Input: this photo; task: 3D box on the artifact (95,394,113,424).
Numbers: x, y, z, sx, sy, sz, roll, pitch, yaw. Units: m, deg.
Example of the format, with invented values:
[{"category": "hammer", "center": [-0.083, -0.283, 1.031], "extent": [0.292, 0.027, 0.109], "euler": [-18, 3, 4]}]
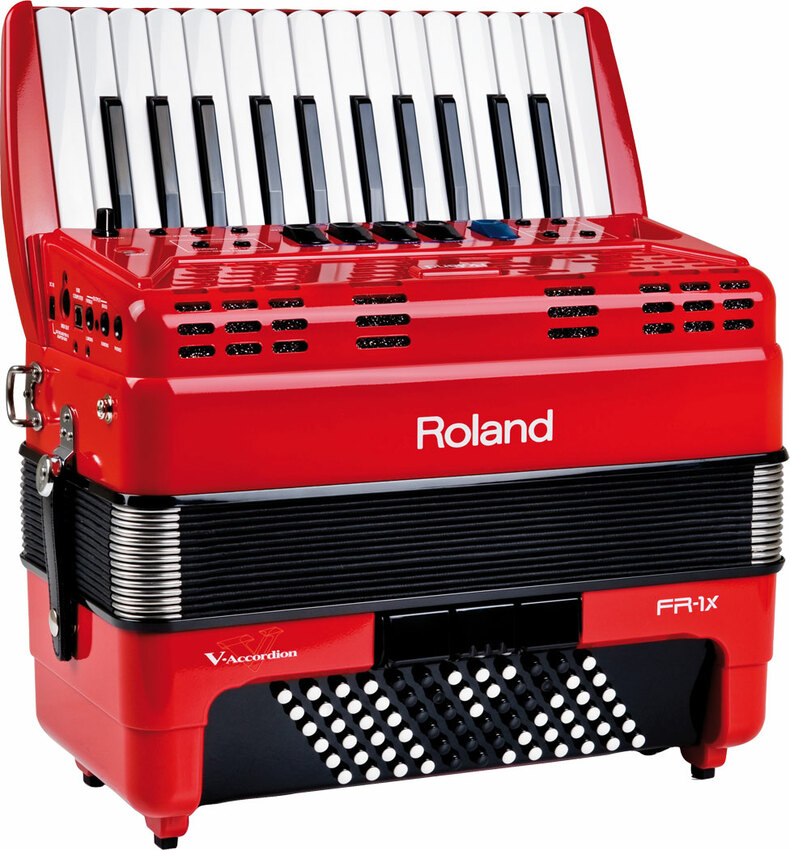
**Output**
[{"category": "artifact", "center": [-0.575, -0.031, 1.885], "extent": [0.023, 0.059, 0.074], "euler": [-2, -1, -38]}]
